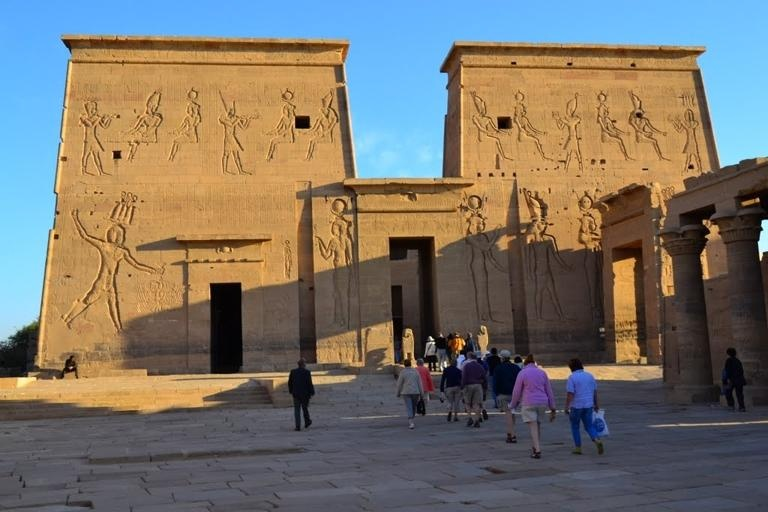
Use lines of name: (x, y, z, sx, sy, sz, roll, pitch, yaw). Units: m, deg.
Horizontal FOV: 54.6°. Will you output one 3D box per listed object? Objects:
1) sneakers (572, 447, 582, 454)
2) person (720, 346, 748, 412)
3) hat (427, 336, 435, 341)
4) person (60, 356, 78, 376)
sneakers: (3.520, 3.554, 13.600, 0.152, 0.120, 0.174, -6, -11, 20)
person: (8.066, 2.838, 17.181, 0.487, 1.427, 0.883, -8, -13, 24)
hat: (1.607, 2.842, 25.439, 0.317, 0.129, 0.390, -1, -3, 0)
person: (-10.994, 3.854, 26.064, 0.526, 0.797, 0.864, 2, -12, -23)
